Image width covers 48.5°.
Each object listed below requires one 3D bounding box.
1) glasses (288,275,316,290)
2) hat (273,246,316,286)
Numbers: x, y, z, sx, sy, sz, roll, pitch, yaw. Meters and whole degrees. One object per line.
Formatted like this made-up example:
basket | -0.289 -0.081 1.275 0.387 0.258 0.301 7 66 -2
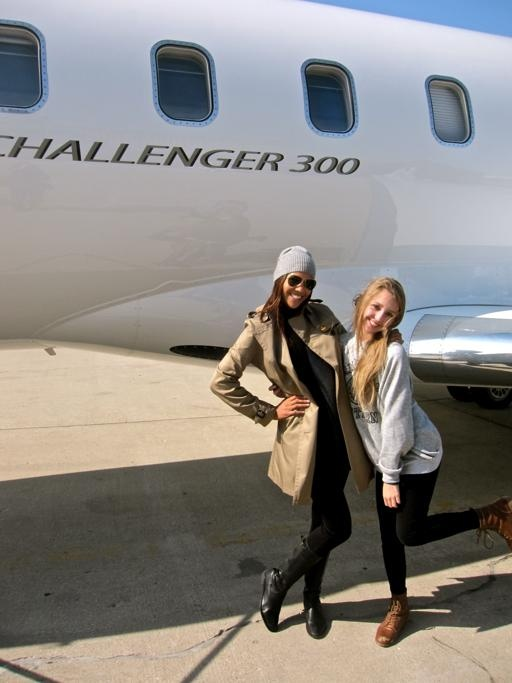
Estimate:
glasses | 0.194 -0.242 2.352 0.126 0.064 0.039 -3 8 -22
hat | 0.165 -0.332 2.430 0.166 0.152 0.170 6 -8 -24
